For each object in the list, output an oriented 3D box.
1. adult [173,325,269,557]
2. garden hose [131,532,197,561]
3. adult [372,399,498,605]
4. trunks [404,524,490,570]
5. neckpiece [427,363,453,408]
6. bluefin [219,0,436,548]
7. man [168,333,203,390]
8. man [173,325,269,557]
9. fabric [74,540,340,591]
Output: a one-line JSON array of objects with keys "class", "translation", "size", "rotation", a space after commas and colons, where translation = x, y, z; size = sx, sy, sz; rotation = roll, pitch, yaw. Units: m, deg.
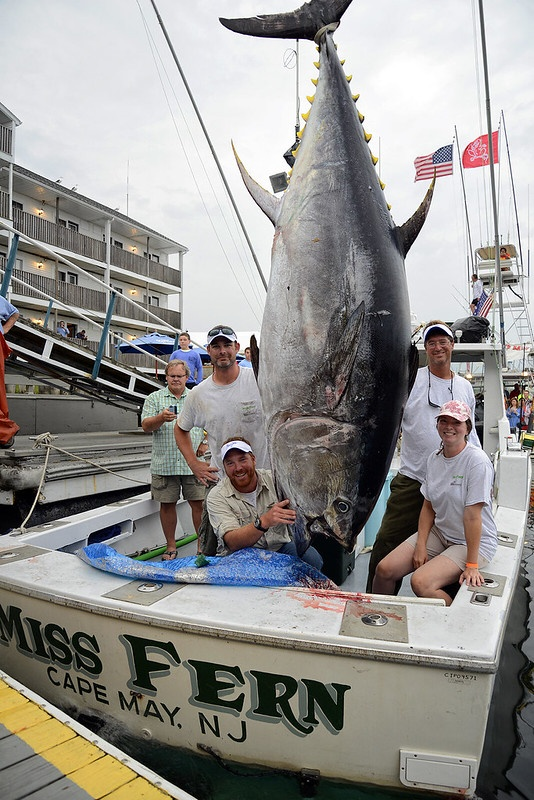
[{"class": "adult", "translation": [-0.136, 0.299, 2.680], "size": [0.480, 1.170, 0.300], "rotation": [-5, 10, -6]}, {"class": "garden hose", "translation": [-0.543, 0.823, 3.385], "size": [0.127, 0.033, 0.494], "rotation": [3, 3, 22]}, {"class": "adult", "translation": [0.631, 0.530, 2.516], "size": [0.601, 1.009, 0.442], "rotation": [-1, 3, -5]}, {"class": "trunks", "translation": [0.746, 0.594, 2.475], "size": [0.190, 0.078, 0.118], "rotation": [9, 8, 21]}, {"class": "neckpiece", "translation": [0.765, -0.039, 2.759], "size": [0.111, 0.152, 0.148], "rotation": [-6, 8, -27]}, {"class": "bluefin", "translation": [0.251, -0.507, 2.107], "size": [0.697, 1.888, 0.576], "rotation": [-5, -6, 22]}, {"class": "man", "translation": [-0.904, -0.309, 6.868], "size": [0.364, 0.861, 0.238], "rotation": [-1, -10, -4]}, {"class": "man", "translation": [-0.139, 0.294, 2.700], "size": [0.480, 1.172, 0.319], "rotation": [-6, 16, -10]}, {"class": "fabric", "translation": [-0.212, 0.562, 2.068], "size": [0.897, 0.102, 0.294], "rotation": [-1, -20, 11]}]
